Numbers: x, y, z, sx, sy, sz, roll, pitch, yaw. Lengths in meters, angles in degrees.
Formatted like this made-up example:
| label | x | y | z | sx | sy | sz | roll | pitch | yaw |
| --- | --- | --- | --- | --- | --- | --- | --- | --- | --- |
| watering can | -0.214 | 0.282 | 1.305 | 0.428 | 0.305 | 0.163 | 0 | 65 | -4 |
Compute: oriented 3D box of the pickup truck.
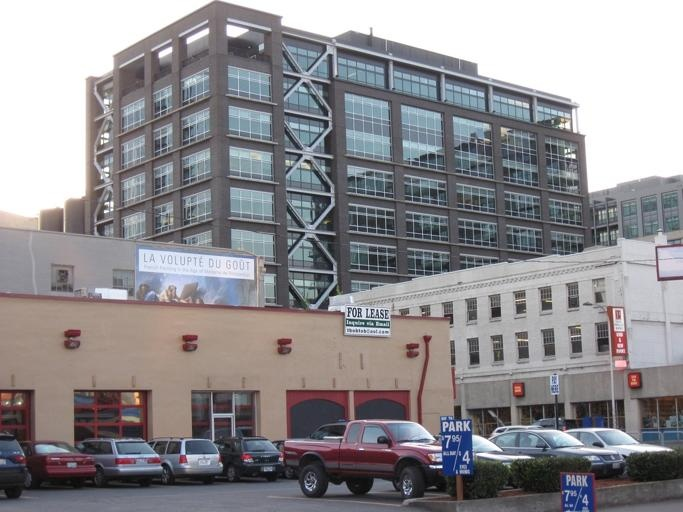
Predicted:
| label | x | y | z | sx | sy | sz | roll | pitch | yaw |
| --- | --- | --- | --- | --- | --- | --- | --- | --- | --- |
| pickup truck | 0.982 | 7.557 | 39.228 | 5.074 | 1.939 | 2.920 | -13 | -17 | 41 |

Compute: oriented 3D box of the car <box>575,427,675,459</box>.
| label | x | y | z | sx | sy | sz | roll | pitch | yaw |
| --- | --- | --- | --- | --- | --- | --- | --- | --- | --- |
| car | 11.807 | 7.968 | 43.643 | 3.708 | 1.201 | 1.593 | -10 | -12 | 44 |

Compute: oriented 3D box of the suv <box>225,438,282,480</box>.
| label | x | y | z | sx | sy | sz | roll | pitch | yaw |
| --- | --- | --- | --- | --- | --- | --- | --- | --- | --- |
| suv | -4.010 | 8.943 | 46.447 | 2.598 | 1.898 | 1.112 | 0 | -13 | -7 |
